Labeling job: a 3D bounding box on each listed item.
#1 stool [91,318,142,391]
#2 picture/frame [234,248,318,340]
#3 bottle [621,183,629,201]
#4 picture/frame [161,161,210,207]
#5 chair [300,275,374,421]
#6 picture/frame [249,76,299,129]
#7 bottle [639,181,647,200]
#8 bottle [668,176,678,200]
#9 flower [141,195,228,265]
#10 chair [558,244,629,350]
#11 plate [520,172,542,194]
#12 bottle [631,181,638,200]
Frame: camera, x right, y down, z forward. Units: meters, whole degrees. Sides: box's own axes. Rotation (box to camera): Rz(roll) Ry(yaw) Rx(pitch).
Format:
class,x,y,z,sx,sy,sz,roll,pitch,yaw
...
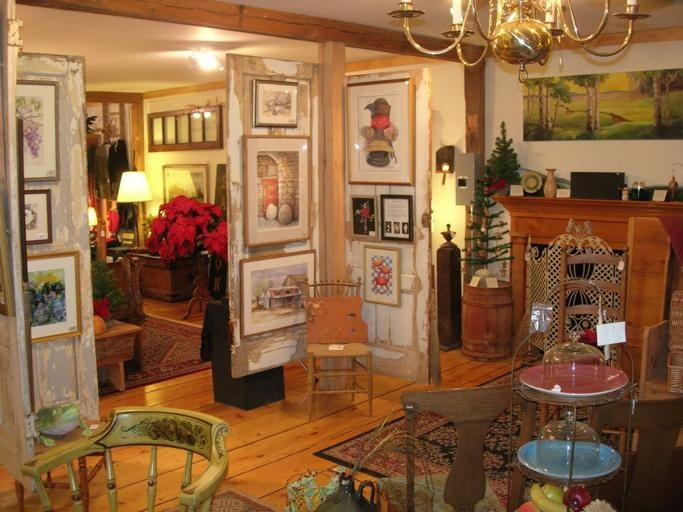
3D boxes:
class,x,y,z,sx,sy,sz,roll,pitch,yaw
stool,-2.234,1.009,5.737,0.427,0.684,0.483,-5,11,-23
picture/frame,-0.622,0.356,5.178,0.828,0.671,0.035,-9,13,-44
bottle,3.029,-0.672,6.062,0.078,0.155,0.190,4,11,26
picture/frame,-2.884,-1.293,10.522,0.047,0.708,1.029,1,5,36
chair,-0.027,0.799,5.121,0.704,1.116,0.682,-1,3,-20
picture/frame,-0.570,-1.360,5.061,0.460,0.381,0.031,12,17,28
bottle,3.217,-0.700,6.085,0.080,0.186,0.235,5,11,27
bottle,3.458,-0.709,5.935,0.087,0.247,0.216,5,12,29
flower,-1.955,-0.444,7.268,0.930,0.724,0.924,12,10,-37
chair,2.620,0.452,5.644,0.782,1.199,0.745,4,8,33
plate,2.248,-0.859,6.672,0.258,0.247,0.204,1,10,8
bottle,3.157,-0.707,6.113,0.092,0.180,0.275,5,11,28
